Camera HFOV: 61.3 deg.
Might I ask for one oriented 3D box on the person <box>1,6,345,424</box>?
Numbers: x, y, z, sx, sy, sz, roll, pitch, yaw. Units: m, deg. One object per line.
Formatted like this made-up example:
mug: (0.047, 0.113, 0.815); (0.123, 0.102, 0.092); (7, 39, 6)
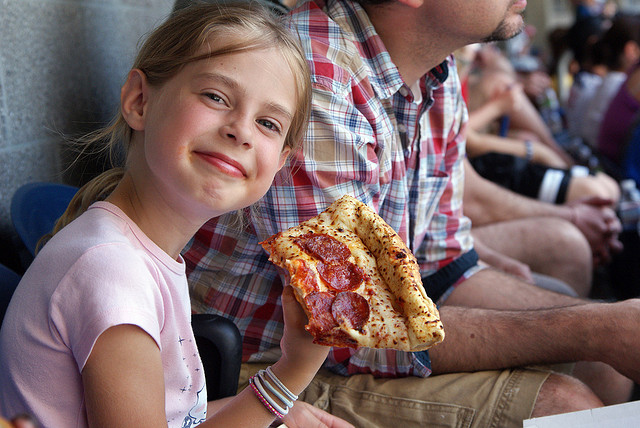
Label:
person: (-0.460, 0.016, 2.075); (1.065, 1.529, 1.079); (-1, -3, 19)

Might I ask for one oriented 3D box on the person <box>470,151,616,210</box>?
person: (1.491, -0.193, 3.650); (0.823, 0.290, 0.873); (17, 3, 33)
